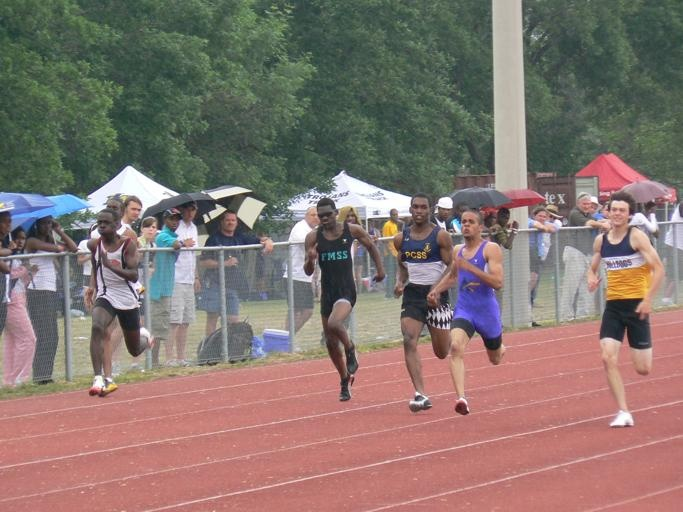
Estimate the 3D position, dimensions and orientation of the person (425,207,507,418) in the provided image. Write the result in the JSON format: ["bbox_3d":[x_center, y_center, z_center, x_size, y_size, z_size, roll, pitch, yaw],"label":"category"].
[{"bbox_3d":[1.711,0.500,15.719,0.937,2.250,0.748,-8,10,-36],"label":"person"}]

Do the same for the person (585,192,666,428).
[{"bbox_3d":[3.718,0.643,15.233,0.928,2.976,1.114,0,9,11],"label":"person"}]

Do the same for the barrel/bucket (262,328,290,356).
[{"bbox_3d":[-1.128,1.442,20.216,0.439,0.366,0.441,-1,-4,0],"label":"barrel/bucket"}]

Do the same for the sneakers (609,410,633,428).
[{"bbox_3d":[3.605,2.072,14.946,0.149,0.158,0.388,-8,-11,37],"label":"sneakers"}]
